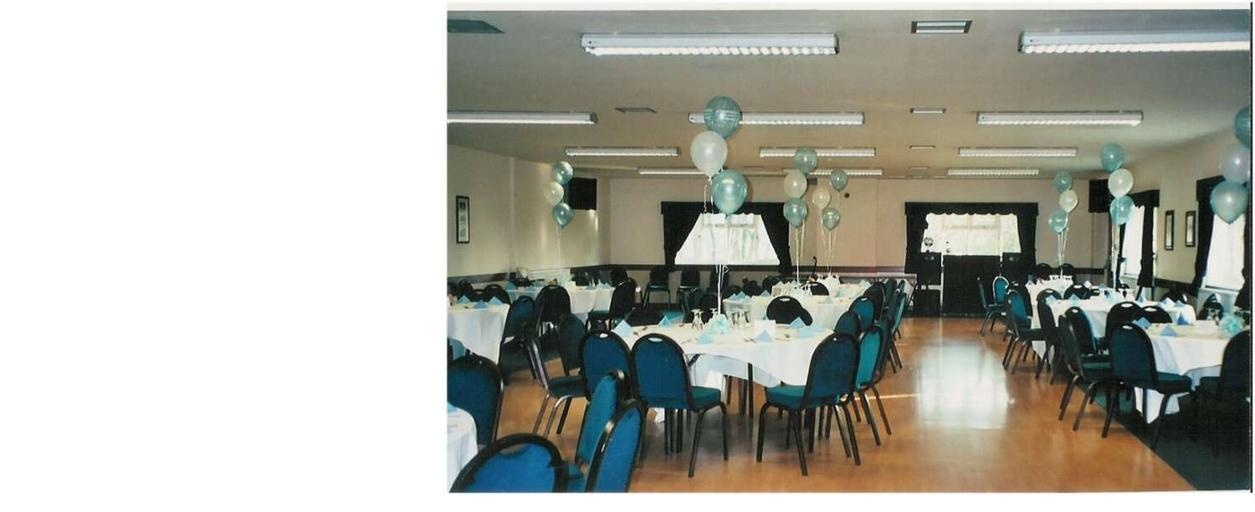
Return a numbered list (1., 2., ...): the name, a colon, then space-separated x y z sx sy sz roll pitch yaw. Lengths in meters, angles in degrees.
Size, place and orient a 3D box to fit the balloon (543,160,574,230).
1. balloon: -1.417 -1.287 17.811 0.912 1.516 0.739 -1 9 -2
